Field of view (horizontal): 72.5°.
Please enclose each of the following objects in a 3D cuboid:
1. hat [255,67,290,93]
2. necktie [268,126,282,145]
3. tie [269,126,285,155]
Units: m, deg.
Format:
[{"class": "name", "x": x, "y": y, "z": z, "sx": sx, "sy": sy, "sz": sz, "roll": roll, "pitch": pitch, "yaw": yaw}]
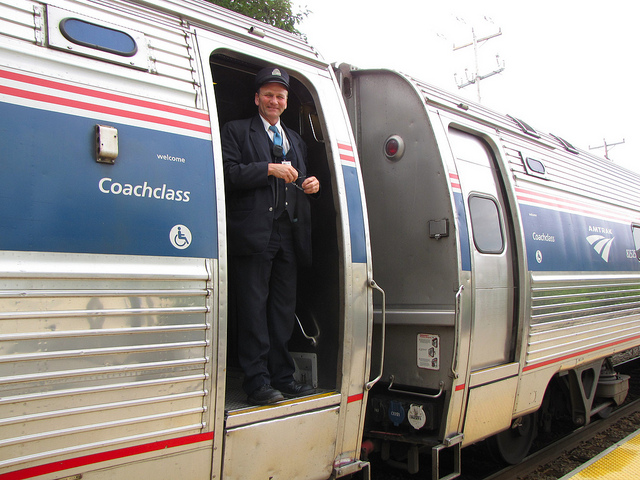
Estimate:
[{"class": "hat", "x": -0.379, "y": -1.246, "z": 3.392, "sx": 0.253, "sy": 0.161, "sz": 0.180, "roll": -3, "pitch": -6, "yaw": -7}, {"class": "necktie", "x": -0.356, "y": -0.825, "z": 3.476, "sx": 0.043, "sy": 0.282, "sz": 0.048, "roll": 0, "pitch": -38, "yaw": -14}, {"class": "tie", "x": -0.357, "y": -0.803, "z": 3.524, "sx": 0.073, "sy": 0.295, "sz": 0.079, "roll": 1, "pitch": -19, "yaw": -43}]
